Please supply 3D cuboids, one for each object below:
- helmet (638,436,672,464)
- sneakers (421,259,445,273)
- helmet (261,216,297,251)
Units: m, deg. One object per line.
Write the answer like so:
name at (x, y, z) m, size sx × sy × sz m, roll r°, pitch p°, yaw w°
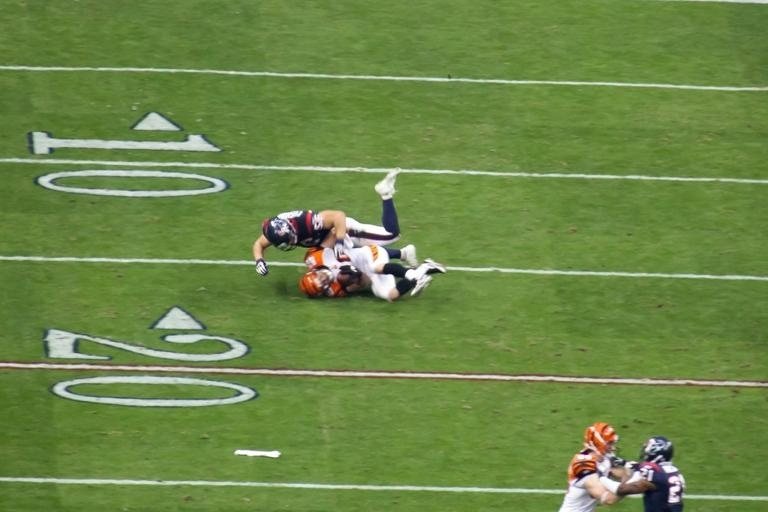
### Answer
helmet at (3.534, 2.544, 25.347) m, size 0.537 × 0.275 × 0.339 m, roll 9°, pitch -4°, yaw 18°
sneakers at (0.658, 0.155, 28.586) m, size 0.357 × 0.101 × 0.164 m, roll 10°, pitch 29°, yaw -34°
helmet at (-1.626, -0.336, 28.669) m, size 0.637 × 0.314 × 0.494 m, roll 19°, pitch 14°, yaw -1°
